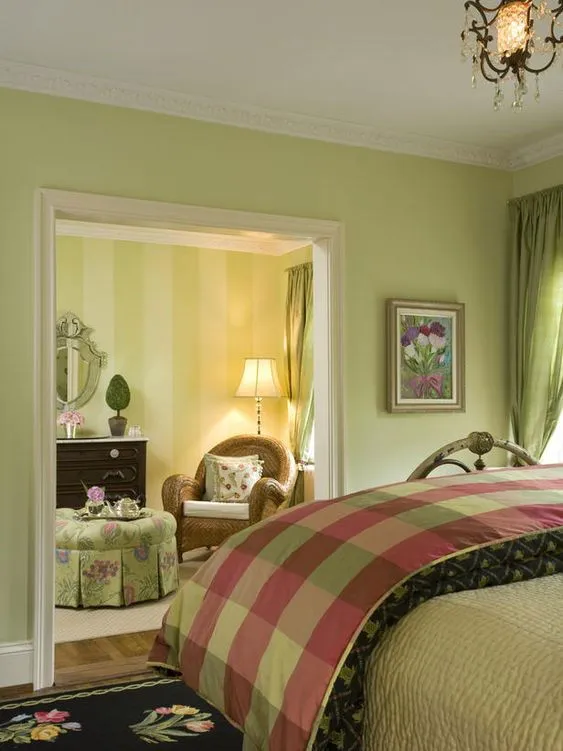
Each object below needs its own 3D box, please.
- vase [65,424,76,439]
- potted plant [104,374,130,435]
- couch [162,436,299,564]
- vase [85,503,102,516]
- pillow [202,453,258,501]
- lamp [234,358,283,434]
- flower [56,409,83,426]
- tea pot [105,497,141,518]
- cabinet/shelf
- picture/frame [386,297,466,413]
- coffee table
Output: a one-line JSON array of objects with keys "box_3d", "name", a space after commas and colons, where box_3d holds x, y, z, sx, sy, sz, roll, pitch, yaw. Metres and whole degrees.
[{"box_3d": [-1.898, 0.504, 5.381, 0.112, 0.123, 0.116, 4, 4, 27], "name": "vase"}, {"box_3d": [-1.527, 0.273, 5.525, 0.230, 0.495, 0.340, 0, 0, -15], "name": "potted plant"}, {"box_3d": [-0.472, 1.043, 5.374, 1.106, 1.255, 1.097, -3, -13, 21], "name": "couch"}, {"box_3d": [-1.359, 0.960, 4.295, 0.088, 0.084, 0.084, 5, -1, 18], "name": "vase"}, {"box_3d": [-0.400, 0.933, 5.320, 0.575, 0.576, 0.222, 6, -4, -23], "name": "pillow"}, {"box_3d": [-0.227, 0.213, 6.015, 0.462, 0.553, 0.447, 0, 0, 0], "name": "lamp"}, {"box_3d": [-1.905, 0.372, 5.324, 0.152, 0.155, 0.147, -1, -1, 2], "name": "flower"}, {"box_3d": [-1.177, 0.962, 4.317, 0.267, 0.118, 0.151, 0, -3, 37], "name": "tea pot"}, {"box_3d": [-1.578, 0.823, 5.085, 0.649, 0.613, 0.279, 1, -4, -30], "name": "cabinet/shelf"}, {"box_3d": [0.902, -0.129, 3.794, 0.730, 0.859, 0.064, 1, -4, -28], "name": "picture/frame"}, {"box_3d": [-1.157, 1.280, 4.300, 0.865, 0.522, 0.873, 4, -14, -11], "name": "coffee table"}]
